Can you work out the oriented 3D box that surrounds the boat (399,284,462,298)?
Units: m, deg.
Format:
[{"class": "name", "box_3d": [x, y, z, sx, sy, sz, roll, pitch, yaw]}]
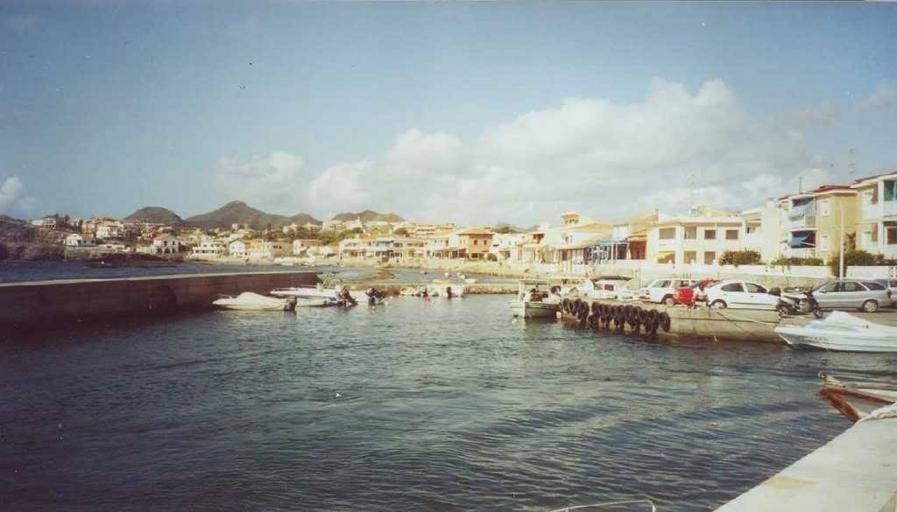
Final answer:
[{"class": "boat", "box_3d": [-1.810, 3.968, 72.110, 6.743, 1.168, 3.865, 1, 3, 9]}]

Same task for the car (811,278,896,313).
[{"class": "car", "box_3d": [25.359, 2.554, 40.770, 5.448, 1.797, 1.717, 0, -1, 6]}]

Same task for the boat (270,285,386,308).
[{"class": "boat", "box_3d": [-10.601, 3.489, 62.230, 14.759, 2.339, 2.961, 5, -9, -25]}]

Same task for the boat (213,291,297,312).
[{"class": "boat", "box_3d": [-16.712, 4.126, 55.180, 7.743, 1.557, 2.218, 2, -5, -3]}]
